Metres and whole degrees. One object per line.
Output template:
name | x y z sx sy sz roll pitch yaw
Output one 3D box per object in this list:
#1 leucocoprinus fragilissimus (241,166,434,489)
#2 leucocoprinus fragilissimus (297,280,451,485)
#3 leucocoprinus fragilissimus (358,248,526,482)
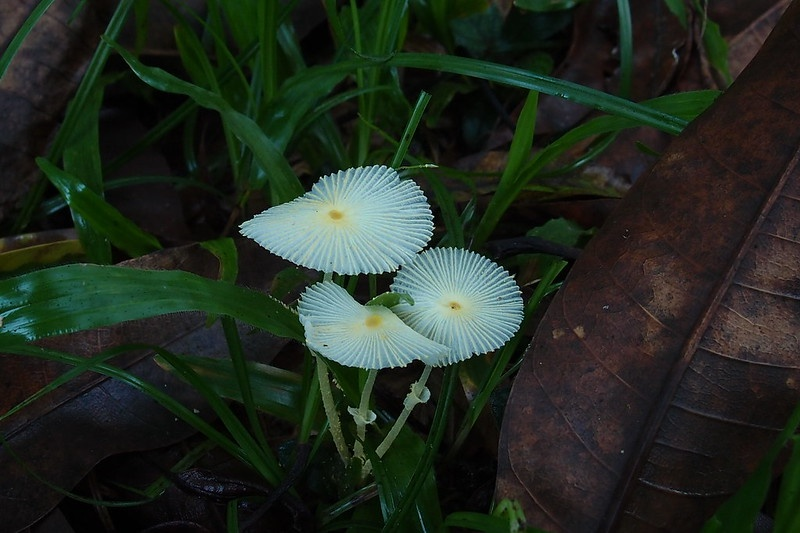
leucocoprinus fragilissimus | -0.100 0.196 1.298 0.414 0.394 0.638 5 99 -14
leucocoprinus fragilissimus | -0.014 0.183 1.352 0.269 0.339 0.288 22 39 23
leucocoprinus fragilissimus | -0.009 0.202 1.290 0.277 0.517 0.324 2 48 -10
